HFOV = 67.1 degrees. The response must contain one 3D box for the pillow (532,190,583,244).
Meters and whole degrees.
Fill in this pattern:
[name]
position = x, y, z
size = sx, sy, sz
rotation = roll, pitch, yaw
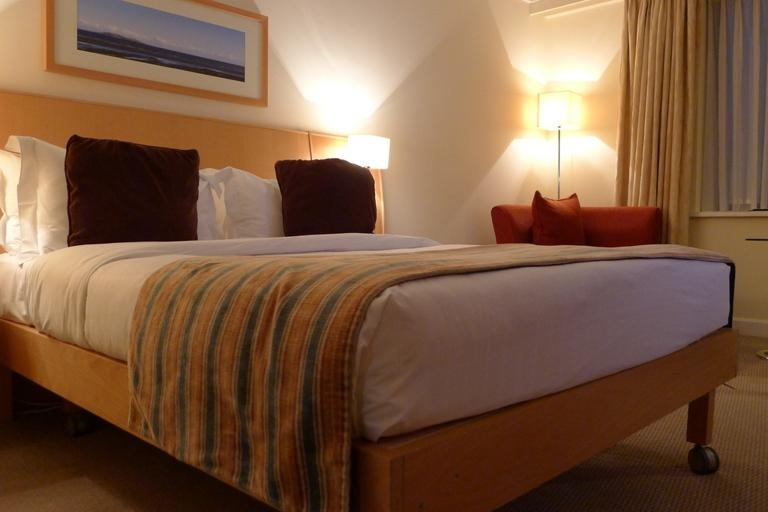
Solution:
[pillow]
position = 1.359, -0.285, 4.539
size = 0.491, 0.525, 0.204
rotation = -3, -4, -32
